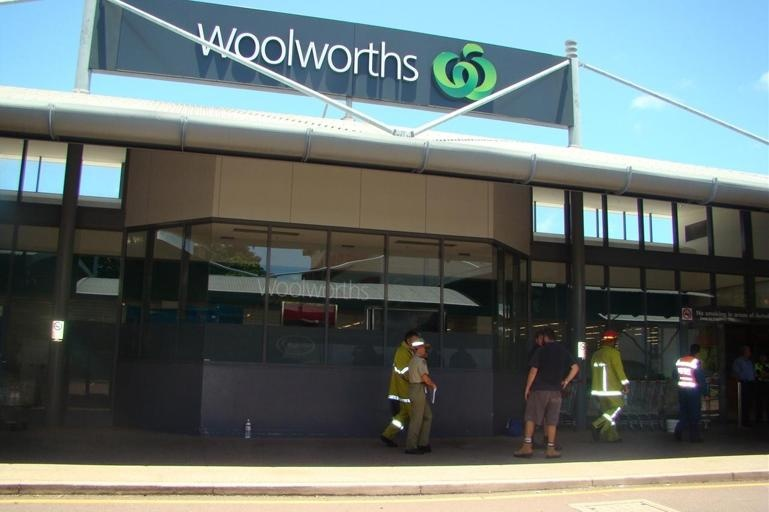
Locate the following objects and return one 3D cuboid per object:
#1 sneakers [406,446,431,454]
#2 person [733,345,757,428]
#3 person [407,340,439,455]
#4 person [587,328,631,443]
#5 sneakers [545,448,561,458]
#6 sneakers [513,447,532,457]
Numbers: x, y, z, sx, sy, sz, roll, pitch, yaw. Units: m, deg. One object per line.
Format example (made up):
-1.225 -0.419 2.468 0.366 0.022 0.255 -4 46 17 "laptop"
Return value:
0.777 4.395 17.122 0.609 0.135 0.271 2 -8 -15 "sneakers"
11.007 3.969 23.121 0.528 2.385 1.335 -4 -9 28 "person"
0.788 3.164 17.193 0.648 2.584 0.723 -1 -8 10 "person"
5.698 3.293 19.219 0.862 2.752 0.486 -1 -8 14 "person"
3.756 4.406 16.923 0.175 0.272 0.403 0 0 34 "sneakers"
3.096 4.398 16.922 0.358 0.160 0.172 0 -5 37 "sneakers"
